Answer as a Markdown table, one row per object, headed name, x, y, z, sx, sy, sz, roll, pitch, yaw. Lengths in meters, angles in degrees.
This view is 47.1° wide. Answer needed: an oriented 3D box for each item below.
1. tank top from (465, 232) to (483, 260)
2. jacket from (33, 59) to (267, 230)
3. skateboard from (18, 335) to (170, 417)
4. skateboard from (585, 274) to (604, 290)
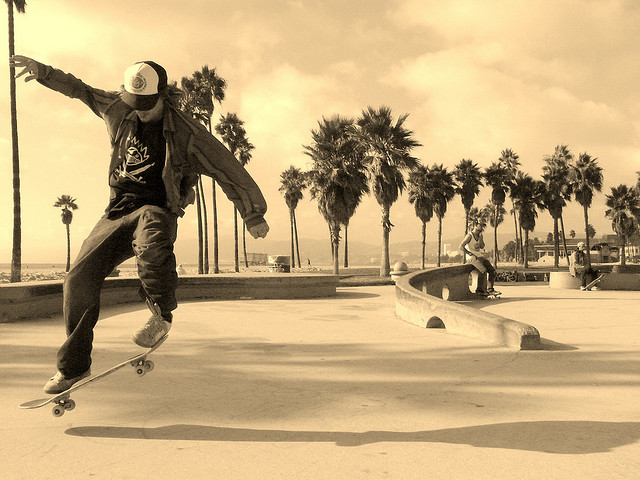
| name | x | y | z | sx | sy | sz | roll | pitch | yaw |
| --- | --- | --- | --- | --- | --- | --- | --- | --- | --- |
| tank top | 3.601 | 0.154 | 17.562 | 0.488 | 0.852 | 0.646 | -1 | 2 | 18 |
| jacket | -1.486 | -0.826 | 6.764 | 1.867 | 1.430 | 0.621 | 1 | 2 | 16 |
| skateboard | -2.228 | 1.377 | 7.276 | 1.129 | 0.188 | 0.264 | -29 | 5 | -20 |
| skateboard | 8.032 | 1.258 | 21.549 | 0.477 | 0.401 | 1.050 | 2 | 2 | 22 |
